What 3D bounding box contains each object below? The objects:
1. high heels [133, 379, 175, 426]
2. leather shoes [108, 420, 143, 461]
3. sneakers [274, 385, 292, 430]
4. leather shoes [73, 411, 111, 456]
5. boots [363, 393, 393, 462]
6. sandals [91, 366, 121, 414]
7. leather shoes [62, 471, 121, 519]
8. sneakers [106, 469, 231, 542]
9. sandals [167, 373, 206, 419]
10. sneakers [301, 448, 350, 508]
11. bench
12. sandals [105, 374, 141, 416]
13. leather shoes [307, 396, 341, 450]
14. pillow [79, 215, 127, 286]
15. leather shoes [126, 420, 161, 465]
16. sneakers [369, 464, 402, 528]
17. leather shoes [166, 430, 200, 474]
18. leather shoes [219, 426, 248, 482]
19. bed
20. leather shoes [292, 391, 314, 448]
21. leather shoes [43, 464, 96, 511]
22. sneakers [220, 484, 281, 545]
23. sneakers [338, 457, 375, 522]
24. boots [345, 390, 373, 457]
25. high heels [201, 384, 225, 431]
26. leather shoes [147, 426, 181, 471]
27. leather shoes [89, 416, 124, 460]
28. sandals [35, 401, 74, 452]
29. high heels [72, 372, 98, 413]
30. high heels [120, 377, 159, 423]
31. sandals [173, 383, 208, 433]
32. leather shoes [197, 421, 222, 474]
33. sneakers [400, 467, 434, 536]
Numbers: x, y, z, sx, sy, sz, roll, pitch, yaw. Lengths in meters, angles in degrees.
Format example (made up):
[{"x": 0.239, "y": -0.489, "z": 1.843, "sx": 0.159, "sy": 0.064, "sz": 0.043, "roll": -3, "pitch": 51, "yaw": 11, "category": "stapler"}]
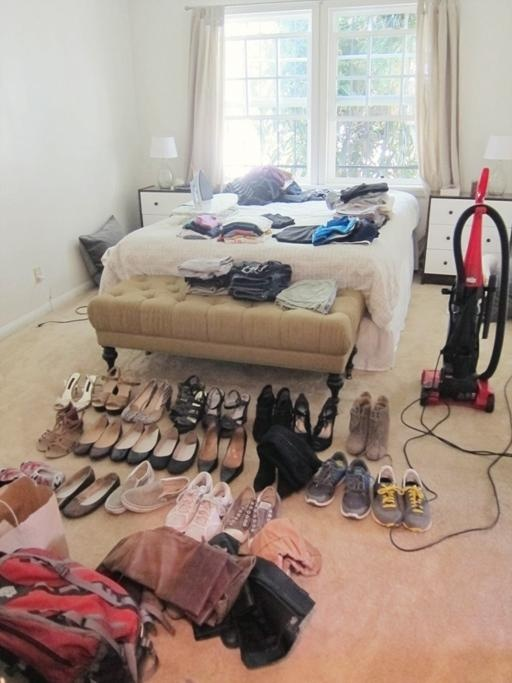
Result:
[{"x": -0.442, "y": 0.266, "z": 2.335, "sx": 0.080, "sy": 0.074, "sz": 0.203, "roll": 19, "pitch": 44, "yaw": 12, "category": "high heels"}, {"x": -0.519, "y": 0.396, "z": 2.113, "sx": 0.061, "sy": 0.065, "sz": 0.179, "roll": 6, "pitch": 32, "yaw": 18, "category": "leather shoes"}, {"x": 0.113, "y": 0.272, "z": 2.128, "sx": 0.059, "sy": 0.067, "sz": 0.171, "roll": 0, "pitch": 31, "yaw": 6, "category": "sneakers"}, {"x": -0.675, "y": 0.377, "z": 2.179, "sx": 0.068, "sy": 0.053, "sz": 0.196, "roll": 6, "pitch": 32, "yaw": 17, "category": "leather shoes"}, {"x": 0.464, "y": 0.324, "z": 2.019, "sx": 0.081, "sy": 0.096, "sz": 0.240, "roll": 3, "pitch": 57, "yaw": 16, "category": "boots"}, {"x": -0.711, "y": 0.230, "z": 2.515, "sx": 0.104, "sy": 0.062, "sz": 0.227, "roll": -4, "pitch": 30, "yaw": 7, "category": "sandals"}, {"x": -0.548, "y": 0.532, "z": 1.815, "sx": 0.085, "sy": 0.049, "sz": 0.195, "roll": 22, "pitch": 39, "yaw": 37, "category": "leather shoes"}, {"x": -0.196, "y": 0.526, "z": 1.713, "sx": 0.180, "sy": 0.075, "sz": 0.230, "roll": 25, "pitch": 10, "yaw": 21, "category": "sneakers"}, {"x": -0.290, "y": 0.242, "z": 2.355, "sx": 0.107, "sy": 0.088, "sz": 0.223, "roll": 7, "pitch": 36, "yaw": 5, "category": "sandals"}, {"x": 0.244, "y": 0.477, "z": 1.874, "sx": 0.083, "sy": 0.092, "sz": 0.224, "roll": 13, "pitch": 27, "yaw": 26, "category": "sneakers"}, {"x": -0.151, "y": -0.047, "z": 2.540, "sx": 1.244, "sy": 0.378, "sz": 0.394, "roll": 5, "pitch": 19, "yaw": 19, "category": "bench"}, {"x": -0.619, "y": 0.245, "z": 2.440, "sx": 0.077, "sy": 0.057, "sz": 0.212, "roll": 5, "pitch": 27, "yaw": 4, "category": "sandals"}, {"x": 0.271, "y": 0.314, "z": 2.125, "sx": 0.077, "sy": 0.069, "sz": 0.229, "roll": 16, "pitch": 64, "yaw": 5, "category": "leather shoes"}, {"x": -1.167, "y": -0.769, "z": 4.272, "sx": 0.218, "sy": 0.409, "sz": 0.604, "roll": 16, "pitch": 38, "yaw": 4, "category": "pillow"}, {"x": -0.434, "y": 0.394, "z": 2.077, "sx": 0.066, "sy": 0.050, "sz": 0.177, "roll": 5, "pitch": 33, "yaw": 16, "category": "leather shoes"}, {"x": 0.429, "y": 0.509, "z": 1.755, "sx": 0.100, "sy": 0.089, "sz": 0.248, "roll": 4, "pitch": 16, "yaw": 10, "category": "sneakers"}, {"x": -0.287, "y": 0.421, "z": 2.014, "sx": 0.078, "sy": 0.053, "sz": 0.185, "roll": 10, "pitch": 32, "yaw": -16, "category": "leather shoes"}, {"x": -0.083, "y": 0.435, "z": 2.001, "sx": 0.086, "sy": 0.068, "sz": 0.279, "roll": -3, "pitch": 23, "yaw": 12, "category": "leather shoes"}, {"x": 0.018, "y": -0.431, "z": 2.829, "sx": 1.372, "sy": 0.380, "sz": 1.391, "roll": 3, "pitch": 28, "yaw": 9, "category": "bed"}, {"x": 0.181, "y": 0.312, "z": 2.121, "sx": 0.071, "sy": 0.083, "sz": 0.207, "roll": -3, "pitch": 72, "yaw": 3, "category": "leather shoes"}, {"x": -0.638, "y": 0.500, "z": 1.843, "sx": 0.060, "sy": 0.047, "sz": 0.180, "roll": 16, "pitch": 45, "yaw": 28, "category": "leather shoes"}, {"x": -0.018, "y": 0.547, "z": 1.686, "sx": 0.100, "sy": 0.065, "sz": 0.181, "roll": 21, "pitch": 59, "yaw": 23, "category": "sneakers"}, {"x": 0.327, "y": 0.502, "z": 1.799, "sx": 0.077, "sy": 0.075, "sz": 0.216, "roll": 0, "pitch": 19, "yaw": 14, "category": "sneakers"}, {"x": 0.400, "y": 0.329, "z": 2.061, "sx": 0.083, "sy": 0.106, "sz": 0.260, "roll": 6, "pitch": 69, "yaw": 20, "category": "boots"}, {"x": -0.186, "y": 0.285, "z": 2.286, "sx": 0.063, "sy": 0.048, "sz": 0.180, "roll": 1, "pitch": 37, "yaw": 0, "category": "high heels"}, {"x": -0.347, "y": 0.411, "z": 2.055, "sx": 0.065, "sy": 0.058, "sz": 0.178, "roll": 7, "pitch": 36, "yaw": 15, "category": "leather shoes"}, {"x": -0.590, "y": 0.385, "z": 2.126, "sx": 0.063, "sy": 0.063, "sz": 0.179, "roll": 6, "pitch": 35, "yaw": 17, "category": "leather shoes"}, {"x": -0.810, "y": 0.349, "z": 2.176, "sx": 0.093, "sy": 0.086, "sz": 0.236, "roll": 4, "pitch": 20, "yaw": -9, "category": "sandals"}, {"x": -0.803, "y": 0.233, "z": 2.496, "sx": 0.066, "sy": 0.047, "sz": 0.203, "roll": 6, "pitch": 31, "yaw": -9, "category": "high heels"}, {"x": -0.510, "y": 0.266, "z": 2.393, "sx": 0.085, "sy": 0.064, "sz": 0.243, "roll": 15, "pitch": 44, "yaw": 14, "category": "high heels"}, {"x": -0.289, "y": 0.280, "z": 2.272, "sx": 0.120, "sy": 0.067, "sz": 0.252, "roll": 26, "pitch": 39, "yaw": -5, "category": "sandals"}, {"x": -0.178, "y": 0.425, "z": 2.013, "sx": 0.081, "sy": 0.072, "sz": 0.257, "roll": -3, "pitch": 16, "yaw": -1, "category": "leather shoes"}, {"x": 0.519, "y": 0.518, "z": 1.737, "sx": 0.092, "sy": 0.083, "sz": 0.250, "roll": 1, "pitch": 19, "yaw": 9, "category": "sneakers"}]
